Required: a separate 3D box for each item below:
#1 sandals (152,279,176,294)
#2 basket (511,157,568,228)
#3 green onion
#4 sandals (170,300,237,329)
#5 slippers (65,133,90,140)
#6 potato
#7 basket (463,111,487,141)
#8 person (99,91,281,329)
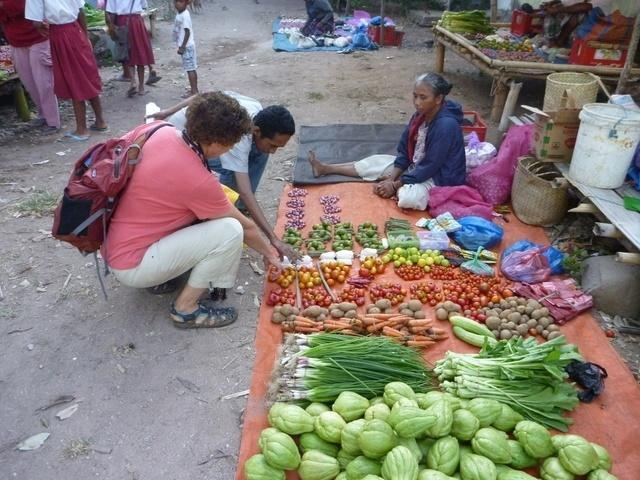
[{"bbox_3d":[-1.543,0.464,4.520,0.204,0.176,0.117,3,11,-20],"label":"sandals"},{"bbox_3d":[2.575,-0.547,5.325,0.516,0.626,0.665,-1,31,-3],"label":"basket"},{"bbox_3d":[0.181,0.888,3.961,1.402,0.429,1.068,-1,17,-5],"label":"green onion"},{"bbox_3d":[-1.055,0.722,4.269,0.631,0.231,0.221,-6,26,-13],"label":"sandals"},{"bbox_3d":[-3.972,-1.691,7.488,0.361,0.137,0.133,4,14,-16],"label":"slippers"},{"bbox_3d":[1.710,0.678,4.016,0.647,0.186,0.422,-5,31,3],"label":"potato"},{"bbox_3d":[2.255,-1.663,6.748,0.486,0.259,0.732,2,31,11],"label":"basket"},{"bbox_3d":[-1.096,-0.256,4.023,1.216,2.063,1.055,12,27,25],"label":"person"}]
